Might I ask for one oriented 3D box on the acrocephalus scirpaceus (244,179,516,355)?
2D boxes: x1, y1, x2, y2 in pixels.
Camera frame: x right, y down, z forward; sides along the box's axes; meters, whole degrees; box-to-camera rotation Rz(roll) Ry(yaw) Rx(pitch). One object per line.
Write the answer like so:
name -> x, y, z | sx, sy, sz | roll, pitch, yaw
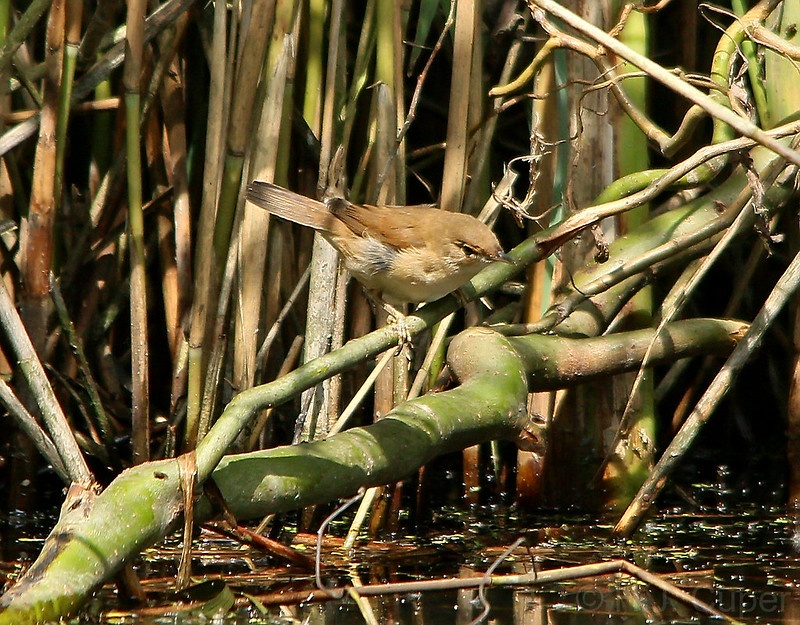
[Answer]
acrocephalus scirpaceus -> -0.144, -0.311, 4.674 | 1.122, 0.538, 0.415 | 32, 16, 20
